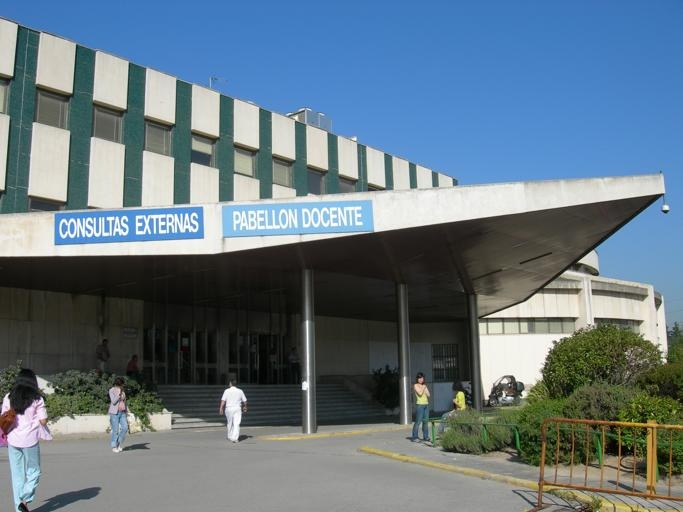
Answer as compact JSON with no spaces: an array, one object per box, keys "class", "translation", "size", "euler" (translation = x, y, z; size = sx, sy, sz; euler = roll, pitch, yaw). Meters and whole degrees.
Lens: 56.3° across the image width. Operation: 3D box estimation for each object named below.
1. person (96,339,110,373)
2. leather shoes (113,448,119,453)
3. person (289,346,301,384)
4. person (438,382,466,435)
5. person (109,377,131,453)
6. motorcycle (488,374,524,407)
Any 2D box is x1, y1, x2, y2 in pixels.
[{"class":"person","translation":[-9.976,4.140,26.777],"size":[0.522,1.461,1.286],"euler":[3,-13,-21]},{"class":"leather shoes","translation":[-6.175,5.329,17.555],"size":[0.196,0.101,0.162],"euler":[-2,-13,2]},{"class":"person","translation":[-2.395,5.661,32.994],"size":[0.549,1.747,0.671],"euler":[-1,-12,-4]},{"class":"person","translation":[3.396,4.542,19.382],"size":[0.803,1.488,3.385],"euler":[-3,-13,9]},{"class":"person","translation":[-6.281,4.479,18.094],"size":[0.503,2.012,1.192],"euler":[3,-12,-19]},{"class":"motorcycle","translation":[9.636,7.871,37.368],"size":[1.872,1.725,2.632],"euler":[-5,-13,15]}]
